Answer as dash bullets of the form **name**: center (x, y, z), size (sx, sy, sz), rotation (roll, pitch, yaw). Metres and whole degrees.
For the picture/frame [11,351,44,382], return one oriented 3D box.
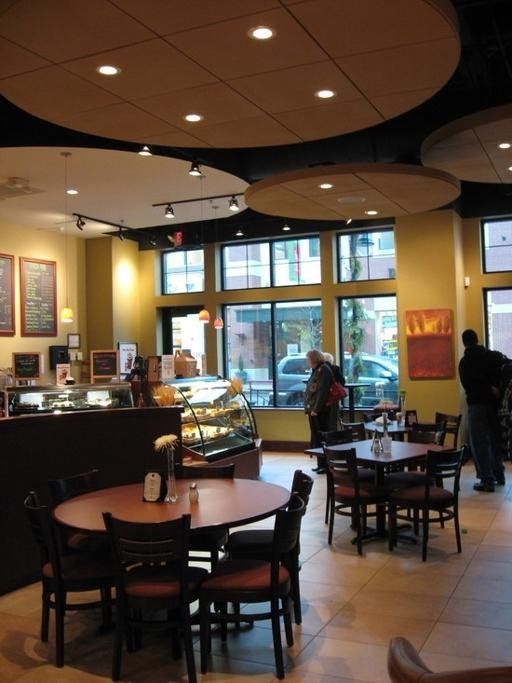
- **picture/frame**: center (-3.094, 0.348, 7.497), size (0.049, 0.296, 0.356), rotation (-10, 11, 37)

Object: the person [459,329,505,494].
- **person**: center (2.727, 0.805, 6.628), size (0.487, 1.872, 0.521), rotation (-2, -3, 1)

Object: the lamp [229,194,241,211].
- **lamp**: center (-0.297, -1.874, 7.493), size (0.173, 0.285, 0.170), rotation (4, -12, -1)

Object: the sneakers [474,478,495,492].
- **sneakers**: center (2.631, 1.675, 6.453), size (0.233, 0.128, 0.240), rotation (-2, -3, 21)

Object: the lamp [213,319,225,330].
- **lamp**: center (-0.616, -0.265, 9.061), size (0.178, 0.164, 0.174), rotation (-3, 0, -9)

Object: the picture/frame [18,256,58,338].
- **picture/frame**: center (-3.477, -0.670, 8.841), size (0.176, 1.240, 0.801), rotation (-2, -3, 17)

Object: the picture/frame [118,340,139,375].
- **picture/frame**: center (-2.094, 0.274, 8.978), size (0.067, 0.617, 0.611), rotation (-3, -1, 22)

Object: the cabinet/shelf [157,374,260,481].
- **cabinet/shelf**: center (-0.554, 0.971, 6.270), size (0.777, 1.114, 1.435), rotation (1, 0, 27)

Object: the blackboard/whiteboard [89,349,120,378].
- **blackboard/whiteboard**: center (-2.145, 0.329, 7.852), size (0.388, 0.331, 0.052), rotation (-6, -5, -43)

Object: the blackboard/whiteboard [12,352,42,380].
- **blackboard/whiteboard**: center (-3.093, 0.350, 7.479), size (0.043, 0.261, 0.314), rotation (-11, 8, 39)

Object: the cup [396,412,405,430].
- **cup**: center (1.608, 0.889, 6.232), size (0.134, 0.194, 0.134), rotation (0, -3, 0)

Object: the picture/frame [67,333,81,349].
- **picture/frame**: center (-3.133, 0.000, 9.503), size (0.022, 0.230, 0.271), rotation (-2, -3, 22)

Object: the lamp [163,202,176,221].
- **lamp**: center (-1.236, -1.850, 7.862), size (0.101, 0.097, 0.238), rotation (9, 35, -9)

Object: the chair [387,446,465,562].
- **chair**: center (1.373, 1.306, 4.614), size (0.541, 0.819, 0.582), rotation (3, -4, -26)

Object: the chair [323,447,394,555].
- **chair**: center (0.898, 1.351, 4.857), size (0.567, 0.819, 0.519), rotation (2, -5, -30)

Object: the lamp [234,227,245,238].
- **lamp**: center (-0.284, -1.801, 9.175), size (0.131, 0.175, 0.066), rotation (-1, 12, -5)

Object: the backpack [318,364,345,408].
- **backpack**: center (1.056, 0.612, 7.776), size (0.310, 0.614, 0.547), rotation (-2, -3, 13)

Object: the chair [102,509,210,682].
- **chair**: center (-0.485, 1.221, 2.714), size (0.475, 0.832, 0.372), rotation (-1, -3, -3)

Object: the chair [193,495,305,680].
- **chair**: center (0.033, 1.268, 3.179), size (0.765, 1.104, 0.695), rotation (1, -7, 7)

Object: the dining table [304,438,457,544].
- **dining table**: center (1.121, 1.238, 5.105), size (1.028, 0.922, 1.032), rotation (2, 6, 34)

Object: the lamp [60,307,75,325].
- **lamp**: center (-2.871, -0.386, 8.415), size (0.296, 0.310, 0.285), rotation (0, -6, -16)

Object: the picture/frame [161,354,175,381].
- **picture/frame**: center (-0.980, 0.302, 6.149), size (0.034, 0.336, 0.254), rotation (-4, -5, 33)

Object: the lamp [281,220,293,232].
- **lamp**: center (0.484, -1.839, 8.895), size (0.173, 0.179, 0.189), rotation (4, 9, 26)

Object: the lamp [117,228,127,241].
- **lamp**: center (-2.289, -1.821, 9.445), size (0.106, 0.225, 0.343), rotation (-5, 9, 0)
